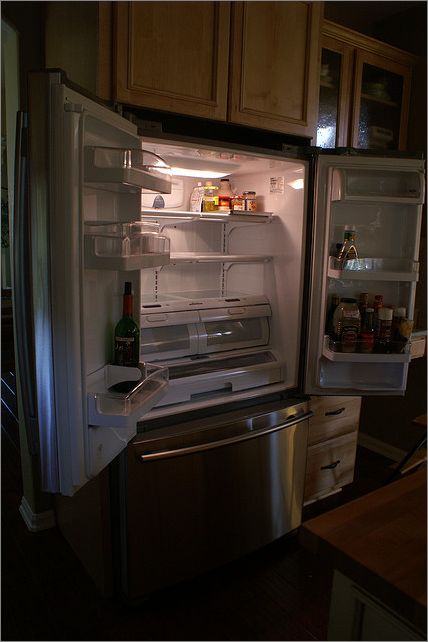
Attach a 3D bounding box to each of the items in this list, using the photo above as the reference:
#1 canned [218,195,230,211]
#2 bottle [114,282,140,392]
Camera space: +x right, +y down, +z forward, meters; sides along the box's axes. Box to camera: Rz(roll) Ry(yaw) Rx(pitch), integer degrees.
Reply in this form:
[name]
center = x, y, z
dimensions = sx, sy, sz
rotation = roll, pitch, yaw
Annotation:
[canned]
center = 0.044, -0.496, 2.007
dimensions = 0.060, 0.078, 0.066
rotation = 5, 18, 10
[bottle]
center = -0.222, 0.028, 1.204
dimensions = 0.061, 0.263, 0.178
rotation = 0, 9, -10
